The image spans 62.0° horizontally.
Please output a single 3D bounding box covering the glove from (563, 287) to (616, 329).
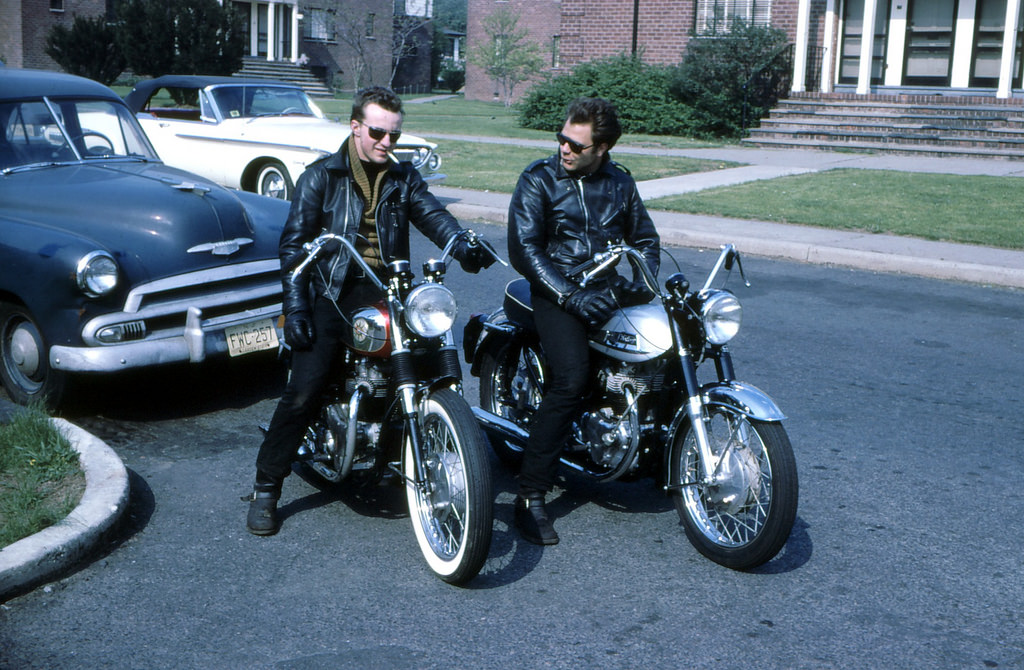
[{"bbox_3d":[0.456,-0.175,4.936,0.254,0.201,0.115,14,52,31],"label":"glove"}]

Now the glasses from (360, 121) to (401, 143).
[{"bbox_3d":[-0.704,-1.197,5.011,0.148,0.102,0.251,14,24,31],"label":"glasses"}]

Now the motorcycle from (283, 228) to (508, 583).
[{"bbox_3d":[-0.580,0.371,4.864,0.603,1.799,1.569,-19,28,-42],"label":"motorcycle"}]

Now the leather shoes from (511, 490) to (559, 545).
[{"bbox_3d":[0.146,1.105,5.064,0.147,0.171,0.396,-3,6,-20],"label":"leather shoes"}]

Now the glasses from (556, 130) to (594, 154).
[{"bbox_3d":[0.372,-1.153,5.038,0.199,0.130,0.145,3,21,4],"label":"glasses"}]
